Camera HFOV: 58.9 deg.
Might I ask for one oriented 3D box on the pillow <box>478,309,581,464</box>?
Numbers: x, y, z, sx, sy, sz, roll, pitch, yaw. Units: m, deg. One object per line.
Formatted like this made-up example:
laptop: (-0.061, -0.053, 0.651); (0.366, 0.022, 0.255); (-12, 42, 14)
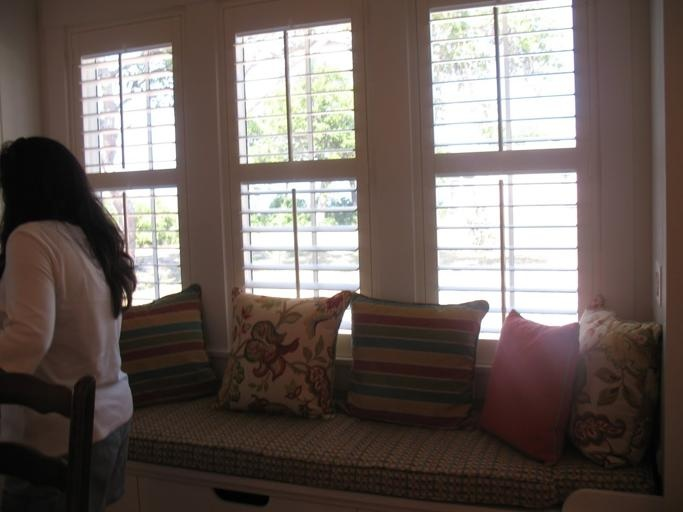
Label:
pillow: (0.706, 0.480, 2.300); (0.249, 0.466, 0.499); (-9, 3, -14)

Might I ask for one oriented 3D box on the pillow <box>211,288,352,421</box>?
pillow: (-0.265, 0.423, 2.607); (0.560, 0.517, 0.293); (2, 5, 12)

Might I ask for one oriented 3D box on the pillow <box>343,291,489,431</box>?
pillow: (0.279, 0.455, 2.513); (0.571, 0.518, 0.303); (2, 1, 25)

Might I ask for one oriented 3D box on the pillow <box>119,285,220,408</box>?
pillow: (-0.839, 0.414, 2.802); (0.500, 0.476, 0.263); (-10, -20, 18)
